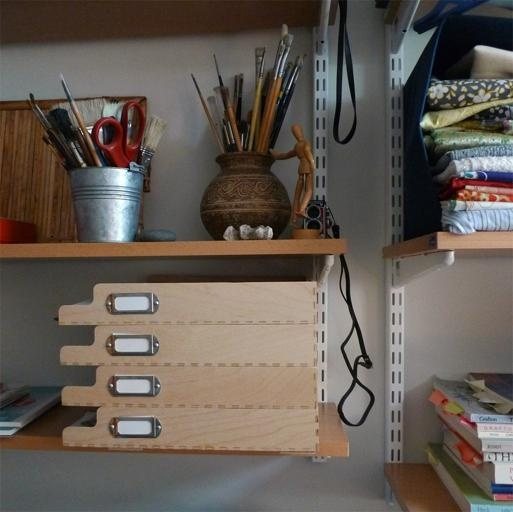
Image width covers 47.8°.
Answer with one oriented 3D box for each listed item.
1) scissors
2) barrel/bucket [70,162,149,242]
[{"bbox_3d":[-0.276,-0.238,1.143,0.095,0.117,0.015,-41,30,-26],"label":"scissors"},{"bbox_3d":[-0.298,-0.107,1.192,0.151,0.123,0.140,-1,-3,0],"label":"barrel/bucket"}]
